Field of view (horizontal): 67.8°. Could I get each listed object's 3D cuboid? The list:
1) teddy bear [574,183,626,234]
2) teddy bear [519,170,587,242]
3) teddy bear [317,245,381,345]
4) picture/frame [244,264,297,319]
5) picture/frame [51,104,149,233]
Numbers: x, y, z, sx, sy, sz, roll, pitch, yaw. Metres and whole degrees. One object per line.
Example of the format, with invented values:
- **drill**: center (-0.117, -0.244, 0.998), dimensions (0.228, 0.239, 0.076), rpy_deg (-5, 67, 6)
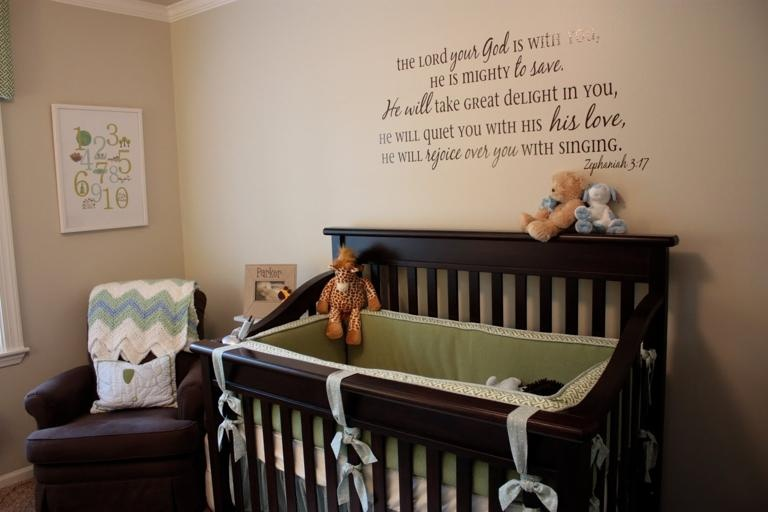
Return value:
- **teddy bear**: center (0.965, -0.223, 2.614), dimensions (0.204, 0.246, 0.209), rpy_deg (-1, 7, -7)
- **teddy bear**: center (0.798, -0.240, 2.689), dimensions (0.256, 0.345, 0.199), rpy_deg (2, 8, -14)
- **teddy bear**: center (-0.205, 0.218, 3.065), dimensions (0.312, 0.515, 0.262), rpy_deg (-2, 2, -4)
- **picture/frame**: center (-0.644, 0.202, 3.232), dimensions (0.262, 0.298, 0.018), rpy_deg (1, -6, 6)
- **picture/frame**: center (-1.831, -0.561, 3.607), dimensions (0.678, 1.045, 0.041), rpy_deg (-8, 13, -42)
